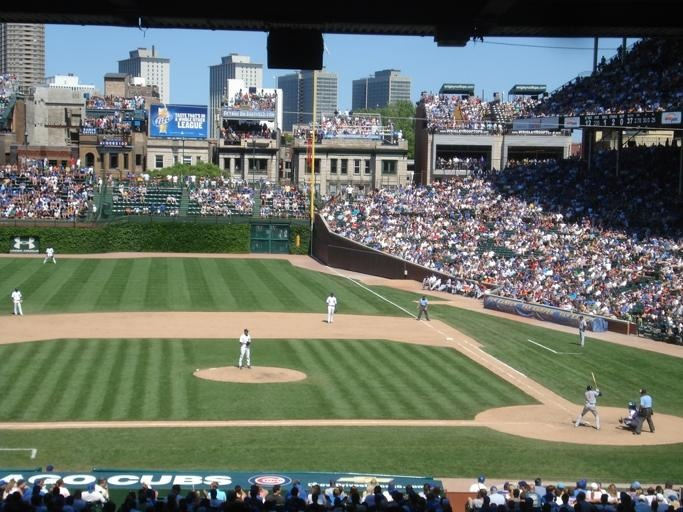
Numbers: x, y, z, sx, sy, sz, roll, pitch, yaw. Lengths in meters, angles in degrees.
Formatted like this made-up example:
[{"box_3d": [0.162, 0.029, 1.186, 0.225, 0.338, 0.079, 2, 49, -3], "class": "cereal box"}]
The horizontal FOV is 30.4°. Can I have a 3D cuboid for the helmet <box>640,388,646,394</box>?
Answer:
[{"box_3d": [13.757, 6.150, 57.310, 0.268, 0.302, 0.312, 1, -3, 9], "class": "helmet"}]

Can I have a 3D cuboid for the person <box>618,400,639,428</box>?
[{"box_3d": [13.490, 7.427, 58.312, 1.176, 1.453, 0.916, 4, -1, -19], "class": "person"}]
